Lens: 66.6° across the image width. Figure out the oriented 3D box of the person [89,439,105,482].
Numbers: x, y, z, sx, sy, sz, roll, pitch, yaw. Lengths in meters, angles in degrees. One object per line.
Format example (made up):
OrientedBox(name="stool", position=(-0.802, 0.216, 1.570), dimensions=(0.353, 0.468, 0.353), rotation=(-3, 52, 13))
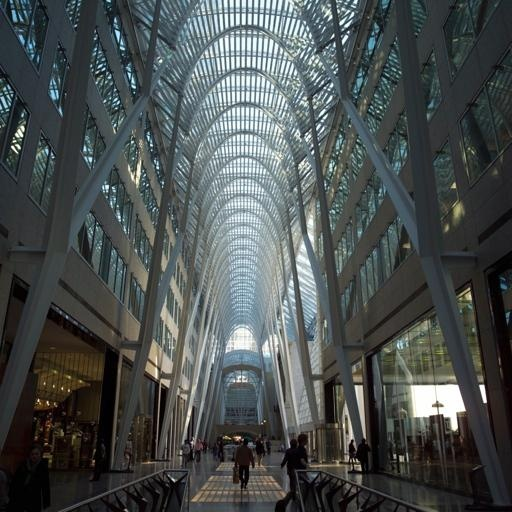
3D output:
OrientedBox(name="person", position=(-5.522, 7.226, 13.770), dimensions=(0.370, 1.585, 2.869), rotation=(8, -33, -18))
